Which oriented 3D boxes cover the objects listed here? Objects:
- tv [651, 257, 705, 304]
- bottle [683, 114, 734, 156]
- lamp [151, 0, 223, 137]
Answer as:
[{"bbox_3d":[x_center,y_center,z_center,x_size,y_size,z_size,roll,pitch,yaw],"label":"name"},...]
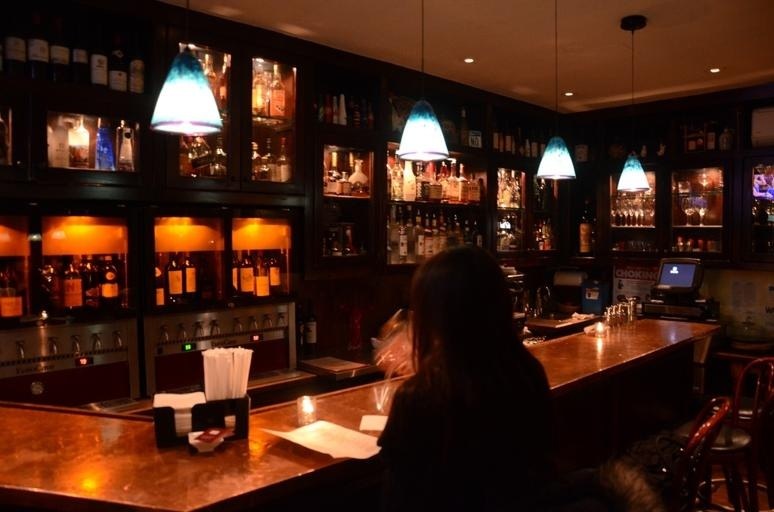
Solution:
[{"bbox_3d":[2.846,0.251,6.247,0.400,0.479,0.252,1,-17,40],"label":"tv"},{"bbox_3d":[3.218,-1.241,6.414,0.517,0.352,0.251,8,13,32],"label":"bottle"},{"bbox_3d":[-1.109,-0.918,3.454,0.384,0.424,0.375,-3,14,-34],"label":"lamp"}]
